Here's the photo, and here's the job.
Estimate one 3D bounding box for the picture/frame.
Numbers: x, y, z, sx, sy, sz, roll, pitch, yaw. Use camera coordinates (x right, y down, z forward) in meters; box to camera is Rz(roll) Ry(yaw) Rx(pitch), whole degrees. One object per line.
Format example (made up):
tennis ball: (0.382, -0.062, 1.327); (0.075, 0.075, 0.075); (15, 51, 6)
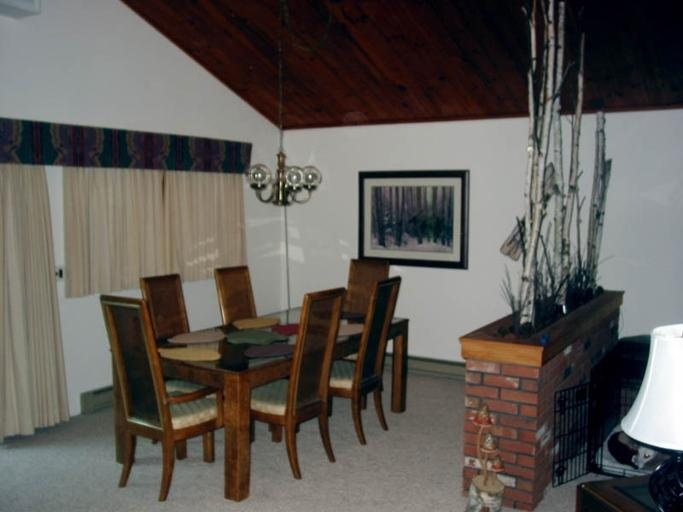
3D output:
picture/frame: (0.832, -0.404, 6.380); (1.042, 0.992, 0.052); (2, 4, 29)
